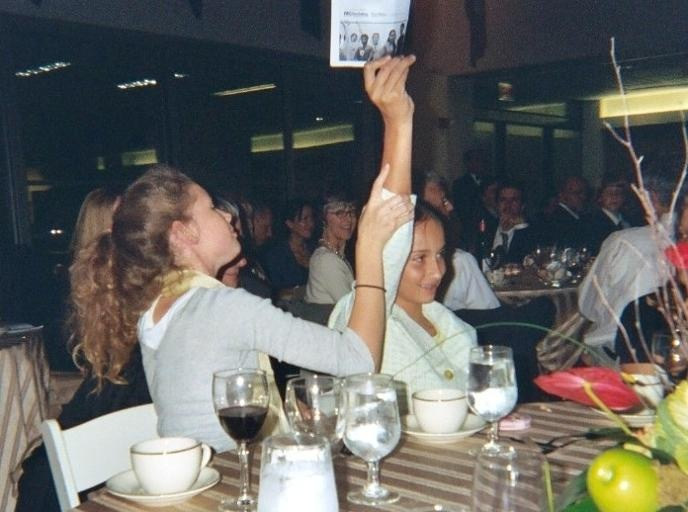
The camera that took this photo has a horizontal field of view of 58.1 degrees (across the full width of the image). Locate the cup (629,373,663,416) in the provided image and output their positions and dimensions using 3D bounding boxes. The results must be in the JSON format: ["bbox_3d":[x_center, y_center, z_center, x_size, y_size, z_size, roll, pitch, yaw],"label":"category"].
[{"bbox_3d":[0.412,0.186,0.843,0.050,0.051,0.042,-4,11,19],"label":"cup"}]

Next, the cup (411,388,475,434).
[{"bbox_3d":[0.230,0.371,1.485,0.136,0.087,0.138,-2,0,0],"label":"cup"}]

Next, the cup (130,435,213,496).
[{"bbox_3d":[-0.351,0.417,1.244,0.100,0.063,0.127,-4,-14,9],"label":"cup"}]

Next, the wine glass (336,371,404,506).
[{"bbox_3d":[0.055,0.344,1.240,0.111,0.232,0.188,-4,5,0],"label":"wine glass"}]

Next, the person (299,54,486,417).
[{"bbox_3d":[0.199,-0.022,1.728,0.313,0.884,0.234,-1,16,34],"label":"person"}]

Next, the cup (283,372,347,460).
[{"bbox_3d":[-0.075,0.330,1.311,0.109,0.122,0.110,-11,-11,-2],"label":"cup"}]
